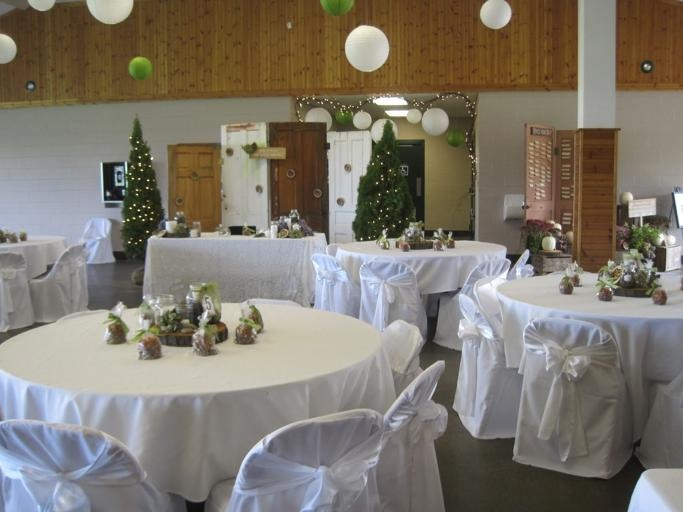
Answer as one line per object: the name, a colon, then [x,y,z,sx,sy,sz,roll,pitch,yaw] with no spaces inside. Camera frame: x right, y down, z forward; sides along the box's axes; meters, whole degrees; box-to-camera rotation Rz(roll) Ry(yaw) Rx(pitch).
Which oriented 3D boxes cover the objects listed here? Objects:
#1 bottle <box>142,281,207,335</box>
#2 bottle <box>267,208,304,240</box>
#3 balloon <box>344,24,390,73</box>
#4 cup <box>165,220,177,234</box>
bottle: [-0.923,0.285,3.497,0.312,0.308,0.216,0,4,-6]
bottle: [-0.637,-0.383,7.528,0.253,0.466,0.428,0,-2,-1]
balloon: [0.279,-2.216,6.808,0.384,0.590,0.457,0,1,11]
cup: [-2.014,-0.341,7.385,0.105,0.156,0.141,1,-2,-1]
